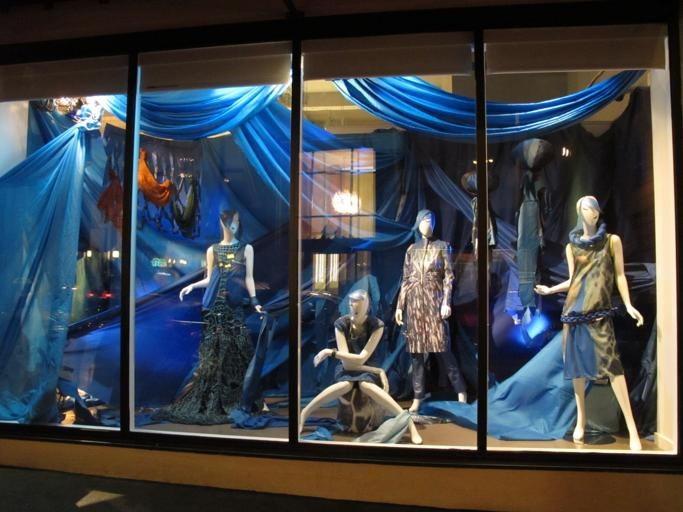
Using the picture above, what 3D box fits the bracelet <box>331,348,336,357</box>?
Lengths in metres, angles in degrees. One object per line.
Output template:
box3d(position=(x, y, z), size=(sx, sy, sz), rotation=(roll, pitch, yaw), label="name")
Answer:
box3d(position=(-0.050, 0.731, 5.144), size=(0.028, 0.054, 0.046), rotation=(1, -9, 3), label="bracelet")

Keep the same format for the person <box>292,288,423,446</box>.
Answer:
box3d(position=(0.088, 0.857, 5.530), size=(1.059, 1.421, 0.819), rotation=(-2, -10, 1), label="person")

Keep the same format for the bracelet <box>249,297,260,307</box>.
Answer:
box3d(position=(-0.674, 0.373, 5.341), size=(0.077, 0.118, 0.059), rotation=(-4, -9, 10), label="bracelet")
